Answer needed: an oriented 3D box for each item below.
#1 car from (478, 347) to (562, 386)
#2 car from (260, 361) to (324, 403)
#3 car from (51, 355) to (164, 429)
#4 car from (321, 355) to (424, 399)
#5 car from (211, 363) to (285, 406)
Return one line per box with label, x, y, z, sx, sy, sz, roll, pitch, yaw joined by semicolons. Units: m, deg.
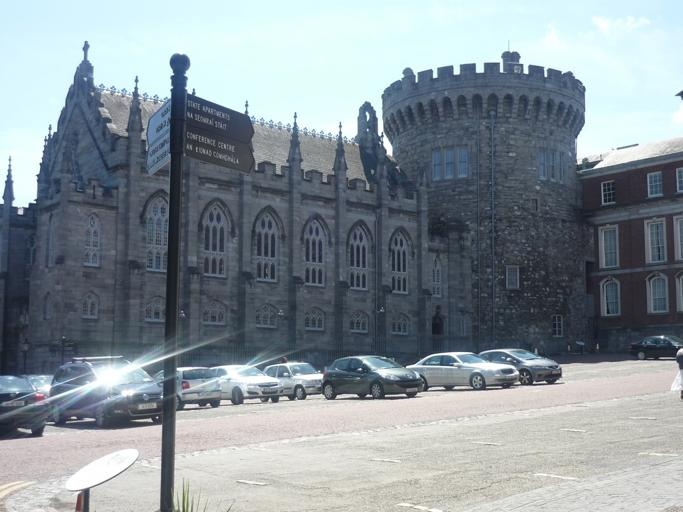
car;7.680;4.702;38.560;1.551;1.121;3.311;3;-7;-39
car;-2.006;5.266;38.571;2.189;1.076;1.371;-14;-16;43
car;-7.676;4.357;29.511;4.215;2.392;1.842;-10;-14;36
car;1.160;4.618;34.617;4.024;1.790;1.390;-9;-13;33
car;-3.803;5.066;36.300;1.347;1.012;2.939;7;-14;-36
